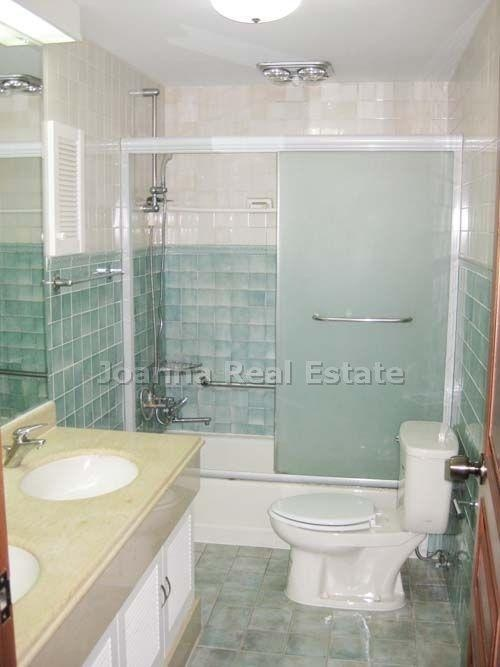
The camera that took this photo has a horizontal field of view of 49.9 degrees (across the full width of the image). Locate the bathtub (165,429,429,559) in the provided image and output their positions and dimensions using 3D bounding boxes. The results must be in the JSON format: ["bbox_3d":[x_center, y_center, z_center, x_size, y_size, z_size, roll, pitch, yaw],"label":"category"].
[{"bbox_3d":[0.258,0.772,2.927,1.196,0.432,0.625,2,6,5],"label":"bathtub"}]

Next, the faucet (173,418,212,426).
[{"bbox_3d":[-0.349,0.512,3.118,0.210,0.057,0.048,-1,-3,-7],"label":"faucet"}]

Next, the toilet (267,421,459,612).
[{"bbox_3d":[0.479,0.820,2.440,0.787,0.715,0.413,1,2,10],"label":"toilet"}]

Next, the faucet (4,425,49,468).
[{"bbox_3d":[-0.665,0.318,1.572,0.104,0.132,0.255,-2,5,-25],"label":"faucet"}]
